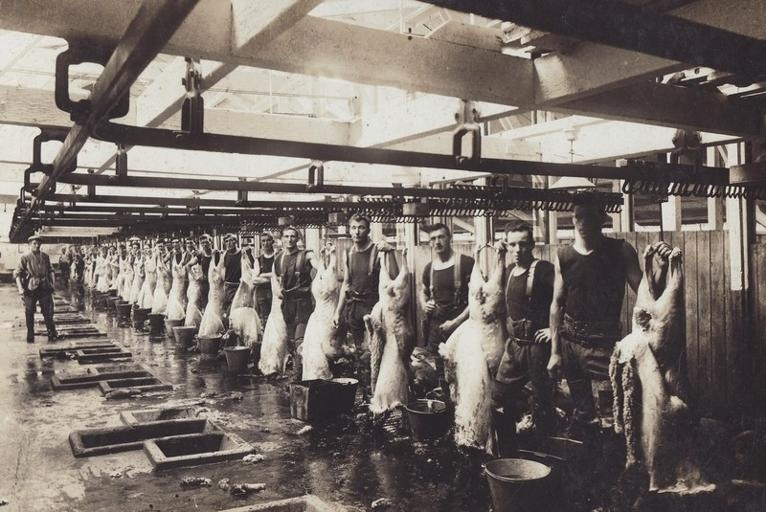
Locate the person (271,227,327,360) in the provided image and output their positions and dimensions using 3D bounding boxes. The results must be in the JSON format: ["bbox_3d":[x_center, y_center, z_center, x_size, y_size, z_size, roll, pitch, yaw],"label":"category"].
[{"bbox_3d":[-1.368,0.527,11.402,0.795,1.981,0.333,1,1,23],"label":"person"}]

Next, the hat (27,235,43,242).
[{"bbox_3d":[-7.166,-0.357,15.036,0.356,0.145,0.409,0,3,-35],"label":"hat"}]

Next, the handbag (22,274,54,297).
[{"bbox_3d":[-7.164,0.736,15.117,0.329,0.432,0.608,-14,-13,42],"label":"handbag"}]

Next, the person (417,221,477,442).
[{"bbox_3d":[0.758,0.533,8.722,0.382,1.844,0.965,0,1,-28],"label":"person"}]

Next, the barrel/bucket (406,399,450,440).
[{"bbox_3d":[0.516,1.853,8.276,0.372,0.293,0.394,0,-12,0],"label":"barrel/bucket"}]

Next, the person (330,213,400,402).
[{"bbox_3d":[-0.327,0.665,9.754,0.584,2.441,1.456,1,1,-15],"label":"person"}]

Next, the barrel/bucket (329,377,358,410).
[{"bbox_3d":[-0.490,1.742,9.341,0.288,0.274,0.343,0,-8,11],"label":"barrel/bucket"}]
